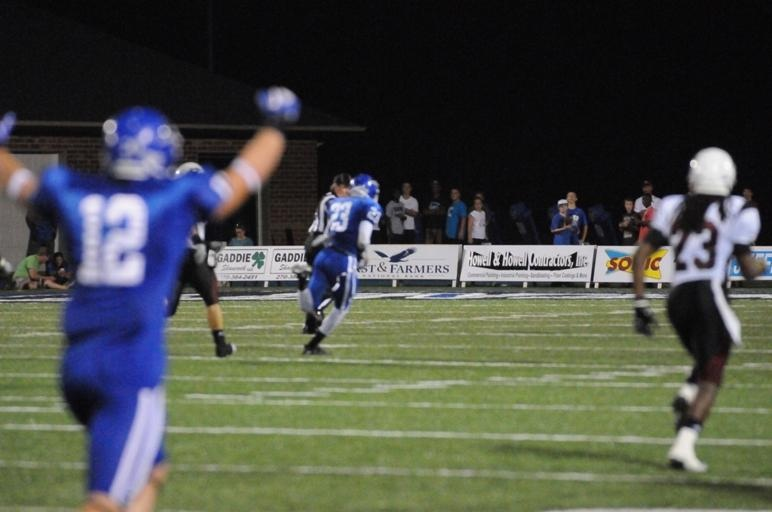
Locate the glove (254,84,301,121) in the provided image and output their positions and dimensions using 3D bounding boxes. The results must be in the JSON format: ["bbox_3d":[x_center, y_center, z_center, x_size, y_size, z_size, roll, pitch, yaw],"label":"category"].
[{"bbox_3d":[-0.576,-0.861,5.556,0.270,0.198,0.115,13,30,-3],"label":"glove"}]

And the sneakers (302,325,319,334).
[{"bbox_3d":[-0.985,0.950,13.043,0.178,0.167,0.202,-2,-19,8],"label":"sneakers"}]

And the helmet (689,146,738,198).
[{"bbox_3d":[2.454,-0.636,7.517,0.315,0.311,0.412,4,10,18],"label":"helmet"}]

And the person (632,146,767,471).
[{"bbox_3d":[2.243,0.375,7.298,0.857,2.332,0.593,4,4,24],"label":"person"}]

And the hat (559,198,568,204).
[{"bbox_3d":[3.686,-1.146,20.762,0.235,0.112,0.327,-10,-3,11],"label":"hat"}]
